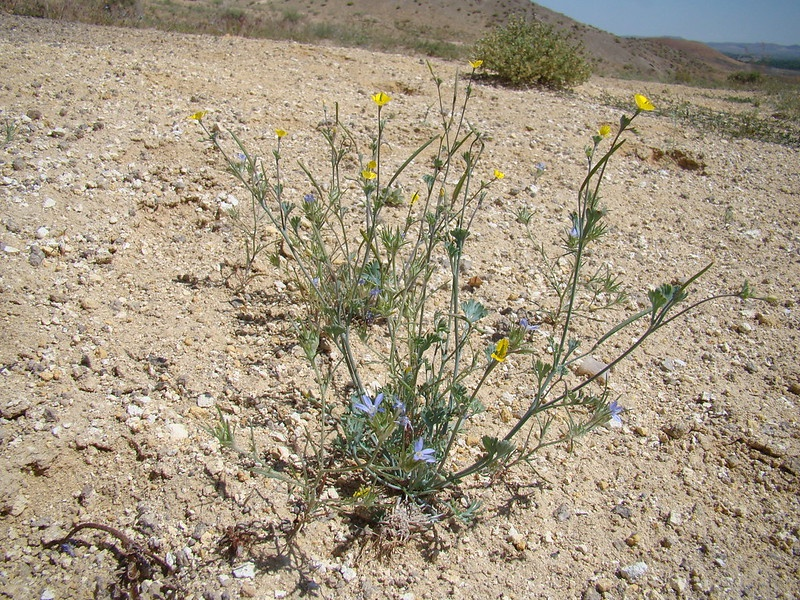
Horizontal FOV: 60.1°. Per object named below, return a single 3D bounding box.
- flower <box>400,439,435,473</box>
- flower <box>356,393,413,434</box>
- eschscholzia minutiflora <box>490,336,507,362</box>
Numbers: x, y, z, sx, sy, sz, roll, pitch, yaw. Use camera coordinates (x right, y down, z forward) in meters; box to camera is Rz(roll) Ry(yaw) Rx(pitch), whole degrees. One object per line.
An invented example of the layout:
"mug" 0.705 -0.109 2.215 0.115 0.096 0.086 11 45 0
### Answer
"flower" 0.101 0.782 3.576 0.145 0.210 0.221 10 60 6
"flower" -0.111 0.621 3.723 0.250 0.090 0.251 39 12 1
"eschscholzia minutiflora" 0.513 0.249 3.498 0.082 0.128 0.035 27 17 37
